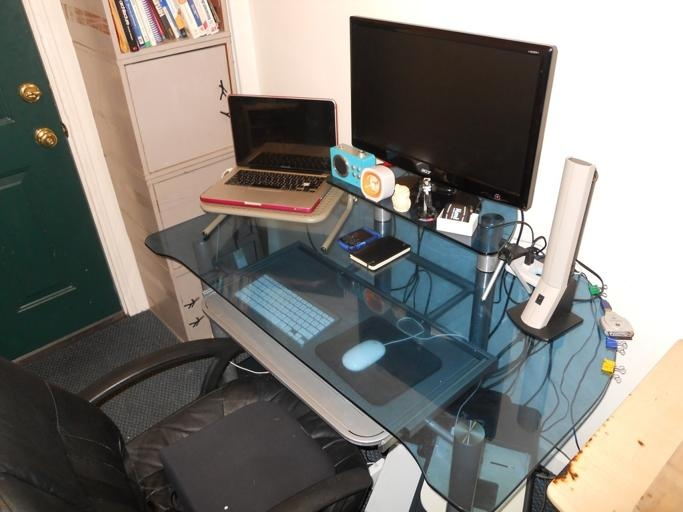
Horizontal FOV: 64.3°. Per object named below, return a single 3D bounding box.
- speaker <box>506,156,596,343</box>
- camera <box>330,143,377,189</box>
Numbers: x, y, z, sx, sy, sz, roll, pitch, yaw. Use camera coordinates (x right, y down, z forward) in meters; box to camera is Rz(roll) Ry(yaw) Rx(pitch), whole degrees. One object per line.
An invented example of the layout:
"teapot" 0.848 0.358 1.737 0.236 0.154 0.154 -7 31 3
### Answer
"speaker" 0.573 -0.016 1.428 0.201 0.493 0.152 6 32 10
"camera" 0.036 -0.322 1.936 0.058 0.128 0.166 -30 42 -35
